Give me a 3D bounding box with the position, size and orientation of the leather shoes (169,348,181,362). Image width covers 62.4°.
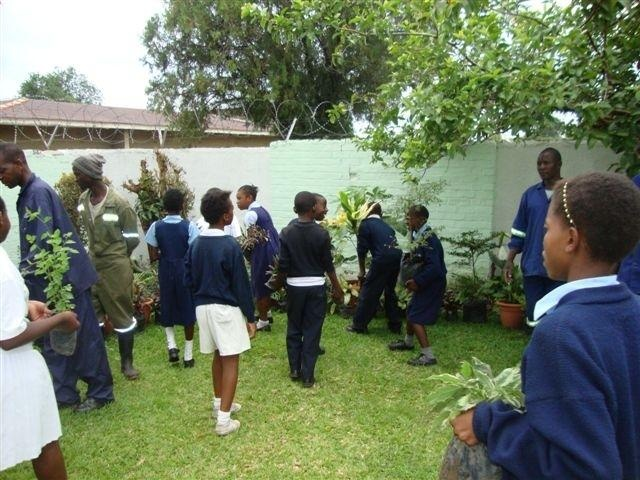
[{"bbox_3d":[-1.691,1.343,6.127,0.170,0.172,0.102,-1,2,-14],"label":"leather shoes"}]

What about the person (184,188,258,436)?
[{"bbox_3d":[-0.879,0.636,4.816,0.561,2.133,0.673,-5,13,-20],"label":"person"}]

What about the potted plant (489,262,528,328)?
[{"bbox_3d":[2.629,0.811,7.205,0.471,0.766,0.427,-1,1,-13],"label":"potted plant"}]

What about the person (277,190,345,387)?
[{"bbox_3d":[-0.120,0.511,5.689,0.667,2.003,0.627,-2,12,-5],"label":"person"}]

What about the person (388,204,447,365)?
[{"bbox_3d":[1.215,0.528,6.170,0.484,1.775,0.734,1,12,6],"label":"person"}]

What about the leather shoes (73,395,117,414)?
[{"bbox_3d":[-2.178,1.598,5.135,0.333,0.135,0.121,8,4,-39],"label":"leather shoes"}]

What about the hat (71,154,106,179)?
[{"bbox_3d":[-2.293,-0.739,5.260,0.221,0.228,0.297,1,-5,-26],"label":"hat"}]

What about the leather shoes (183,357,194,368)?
[{"bbox_3d":[-1.506,1.432,6.075,0.071,0.118,0.117,2,-12,-4],"label":"leather shoes"}]

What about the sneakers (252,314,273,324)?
[{"bbox_3d":[-0.793,1.118,7.400,0.295,0.139,0.101,3,-3,-12],"label":"sneakers"}]

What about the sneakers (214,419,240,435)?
[{"bbox_3d":[-0.822,1.684,4.767,0.090,0.113,0.258,6,7,33],"label":"sneakers"}]

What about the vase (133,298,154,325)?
[{"bbox_3d":[-2.416,0.983,7.263,0.291,0.337,0.312,7,-7,-20],"label":"vase"}]

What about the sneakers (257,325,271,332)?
[{"bbox_3d":[-0.768,1.223,7.254,0.171,0.106,0.081,3,3,8],"label":"sneakers"}]

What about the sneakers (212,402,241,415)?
[{"bbox_3d":[-0.896,1.617,5.038,0.284,0.125,0.097,-2,5,-9],"label":"sneakers"}]

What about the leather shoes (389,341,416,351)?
[{"bbox_3d":[1.026,1.301,6.514,0.287,0.125,0.123,5,1,-2],"label":"leather shoes"}]

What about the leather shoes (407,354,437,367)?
[{"bbox_3d":[1.178,1.396,6.107,0.344,0.162,0.129,5,-6,4],"label":"leather shoes"}]
